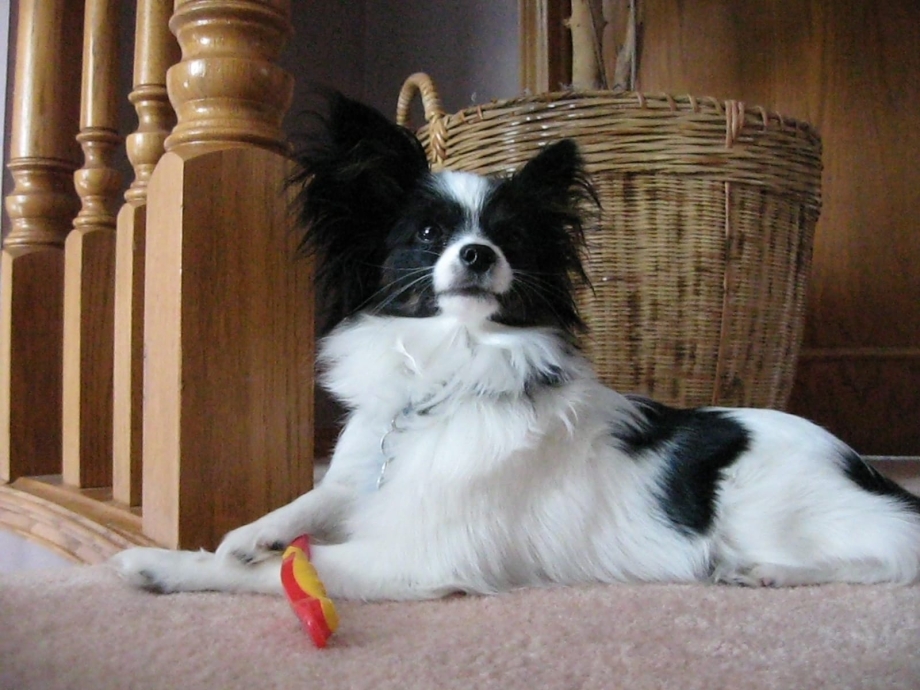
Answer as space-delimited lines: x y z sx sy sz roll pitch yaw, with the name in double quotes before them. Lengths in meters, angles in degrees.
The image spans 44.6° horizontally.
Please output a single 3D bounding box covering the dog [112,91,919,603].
"dog" 0.269 0.221 3.668 2.339 1.414 1.149 2 -20 -6
